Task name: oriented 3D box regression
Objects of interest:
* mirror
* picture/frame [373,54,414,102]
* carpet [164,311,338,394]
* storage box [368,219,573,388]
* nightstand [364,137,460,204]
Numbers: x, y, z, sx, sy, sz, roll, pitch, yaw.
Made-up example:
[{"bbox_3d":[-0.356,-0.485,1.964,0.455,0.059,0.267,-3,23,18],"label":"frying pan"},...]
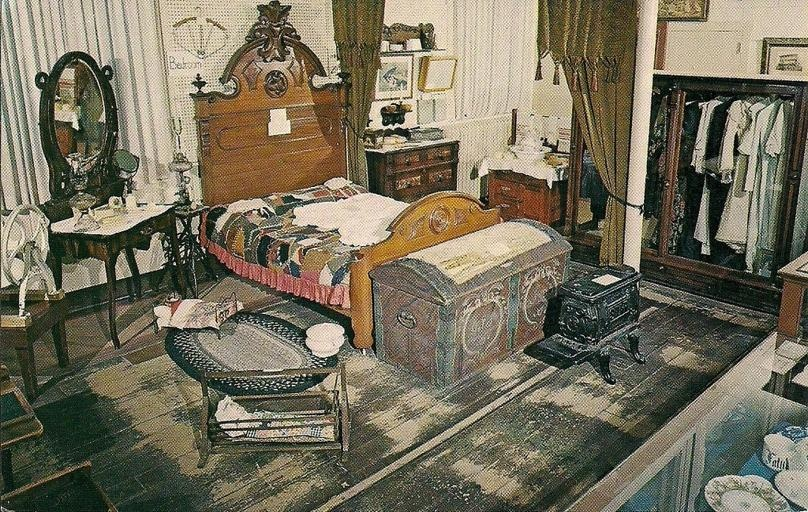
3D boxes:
[{"bbox_3d":[-3.475,-1.396,5.700,0.226,1.577,1.072,11,22,32],"label":"mirror"},{"bbox_3d":[-0.149,-2.636,8.022,0.806,0.631,0.020,16,17,41],"label":"picture/frame"},{"bbox_3d":[-1.458,0.956,5.245,0.798,0.027,1.125,-12,21,-39],"label":"carpet"},{"bbox_3d":[0.640,0.419,5.271,1.737,1.113,0.807,-17,26,-32],"label":"storage box"},{"bbox_3d":[0.099,-1.094,8.186,1.355,1.146,0.692,-20,29,-38],"label":"nightstand"}]
